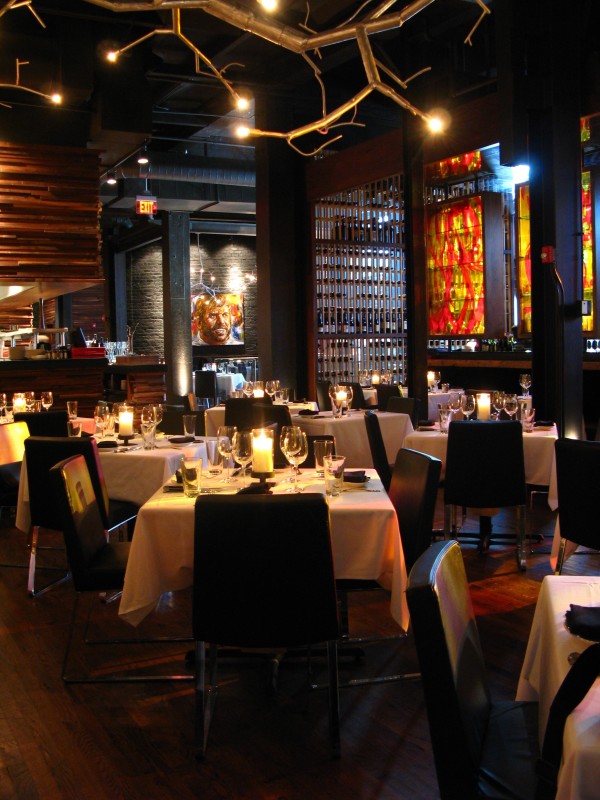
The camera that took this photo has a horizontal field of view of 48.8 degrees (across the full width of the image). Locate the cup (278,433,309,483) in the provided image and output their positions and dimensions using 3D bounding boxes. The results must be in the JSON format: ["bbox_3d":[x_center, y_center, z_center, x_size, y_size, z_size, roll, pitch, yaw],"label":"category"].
[{"bbox_3d":[-0.022,0.217,2.698,0.104,0.255,0.102,-2,23,1],"label":"cup"}]

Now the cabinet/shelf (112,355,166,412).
[{"bbox_3d":[-2.286,-0.368,9.626,0.450,0.814,0.854,-18,30,-19],"label":"cabinet/shelf"}]

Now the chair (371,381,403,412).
[{"bbox_3d":[0.910,-0.051,6.984,0.279,0.382,0.250,0,3,-40],"label":"chair"}]

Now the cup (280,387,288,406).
[{"bbox_3d":[-0.188,-0.038,7.105,0.121,0.223,0.136,-1,3,-2],"label":"cup"}]

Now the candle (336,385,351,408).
[{"bbox_3d":[0.335,-0.033,5.921,0.178,0.219,0.179,-2,-3,38],"label":"candle"}]

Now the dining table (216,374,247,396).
[{"bbox_3d":[-1.570,-0.371,14.588,0.654,0.381,0.681,3,8,20],"label":"dining table"}]

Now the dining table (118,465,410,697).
[{"bbox_3d":[-0.143,0.571,2.415,0.724,0.371,0.786,1,-4,-10],"label":"dining table"}]

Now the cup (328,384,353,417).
[{"bbox_3d":[0.363,-0.012,5.977,0.235,0.395,0.250,0,1,0],"label":"cup"}]

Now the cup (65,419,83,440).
[{"bbox_3d":[-1.474,0.188,4.324,0.096,0.200,0.103,2,8,0],"label":"cup"}]

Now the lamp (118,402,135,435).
[{"bbox_3d":[-1.154,0.131,4.408,0.083,0.198,0.359,-2,1,-15],"label":"lamp"}]

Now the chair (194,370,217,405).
[{"bbox_3d":[-1.909,-0.224,13.473,0.400,0.731,1.247,-2,1,-10],"label":"chair"}]

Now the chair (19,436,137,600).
[{"bbox_3d":[-1.124,0.596,3.490,0.588,0.834,0.591,-3,5,-33],"label":"chair"}]

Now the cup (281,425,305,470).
[{"bbox_3d":[-0.024,0.205,2.738,0.091,0.195,0.249,-1,1,3],"label":"cup"}]

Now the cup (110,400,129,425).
[{"bbox_3d":[-1.374,0.096,5.050,0.140,0.180,0.149,2,1,0],"label":"cup"}]

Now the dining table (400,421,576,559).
[{"bbox_3d":[1.205,0.431,4.099,0.795,0.677,0.839,0,6,12],"label":"dining table"}]

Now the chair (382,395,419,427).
[{"bbox_3d":[0.903,0.103,6.008,0.240,0.458,0.242,2,-1,-44],"label":"chair"}]

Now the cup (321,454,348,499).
[{"bbox_3d":[0.112,0.308,2.574,0.114,0.193,0.126,1,-3,-4],"label":"cup"}]
